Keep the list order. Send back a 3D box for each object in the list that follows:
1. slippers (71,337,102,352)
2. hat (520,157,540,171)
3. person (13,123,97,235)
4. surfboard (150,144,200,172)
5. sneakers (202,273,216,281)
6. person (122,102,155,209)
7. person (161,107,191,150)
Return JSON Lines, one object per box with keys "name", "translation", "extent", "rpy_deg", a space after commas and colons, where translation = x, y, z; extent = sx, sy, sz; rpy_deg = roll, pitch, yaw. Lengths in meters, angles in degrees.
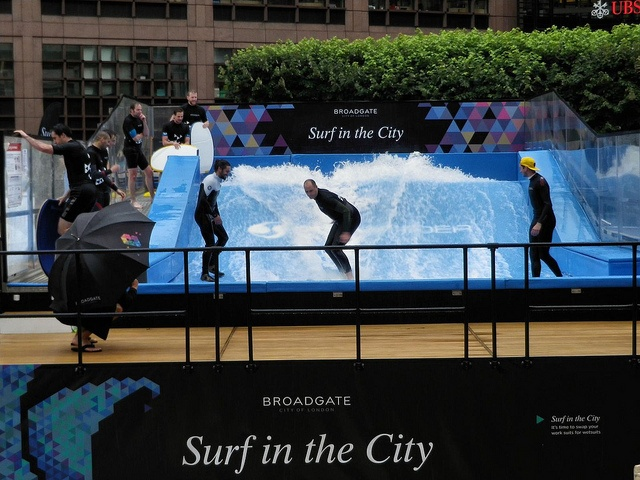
{"name": "slippers", "translation": [-3.867, 1.741, 15.989], "extent": [0.393, 0.149, 0.236], "rpy_deg": [3, 10, 12]}
{"name": "hat", "translation": [4.006, -1.486, 18.784], "extent": [0.347, 0.199, 0.247], "rpy_deg": [23, 16, 19]}
{"name": "person", "translation": [-4.582, -1.075, 17.496], "extent": [1.033, 1.964, 0.594], "rpy_deg": [-3, 9, -14]}
{"name": "surfboard", "translation": [-3.293, -1.861, 21.316], "extent": [0.807, 0.230, 0.662], "rpy_deg": [-13, 49, -7]}
{"name": "sneakers", "translation": [-1.937, 0.640, 16.759], "extent": [0.115, 0.148, 0.336], "rpy_deg": [-5, 11, -42]}
{"name": "person", "translation": [-3.958, -1.851, 21.029], "extent": [0.603, 2.185, 1.561], "rpy_deg": [-3, 9, -11]}
{"name": "person", "translation": [-3.282, -2.507, 21.776], "extent": [0.539, 0.811, 1.039], "rpy_deg": [0, 9, 5]}
